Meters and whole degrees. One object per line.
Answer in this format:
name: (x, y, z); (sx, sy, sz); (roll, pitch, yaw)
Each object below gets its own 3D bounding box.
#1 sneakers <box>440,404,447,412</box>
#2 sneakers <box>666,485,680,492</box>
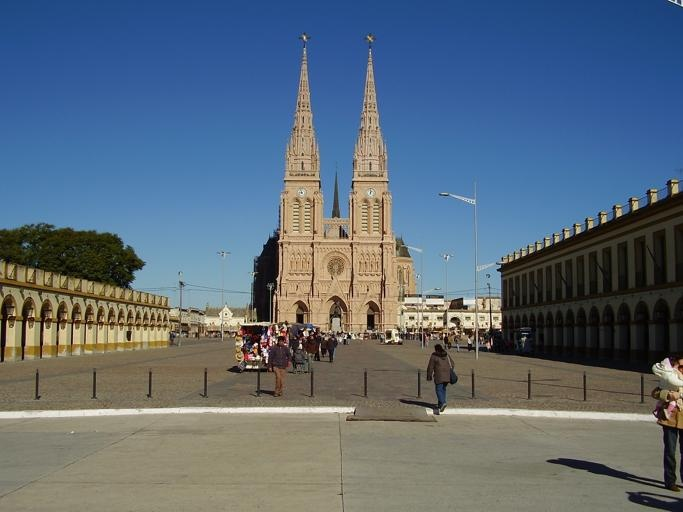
sneakers: (2.860, 4.307, 21.163); (0.117, 0.140, 0.354); (3, -48, -12)
sneakers: (6.039, 4.206, 13.605); (0.270, 0.131, 0.151); (2, -10, -6)
